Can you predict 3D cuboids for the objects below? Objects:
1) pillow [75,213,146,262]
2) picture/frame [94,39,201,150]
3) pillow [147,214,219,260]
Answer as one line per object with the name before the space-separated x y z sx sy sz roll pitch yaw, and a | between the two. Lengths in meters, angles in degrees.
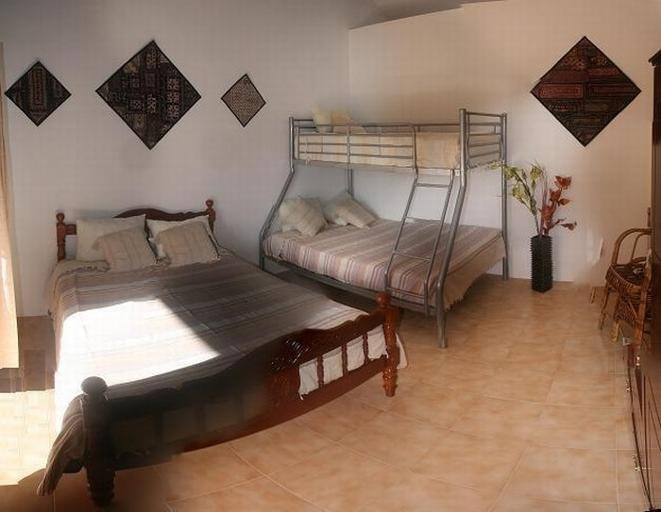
pillow | -2.433 -0.192 5.445 0.469 0.313 0.147 -14 -4 -33
picture/frame | -2.134 -1.914 5.865 1.134 1.229 0.050 -9 13 -34
pillow | -1.811 -0.308 6.130 0.817 0.219 0.860 5 -24 -15
